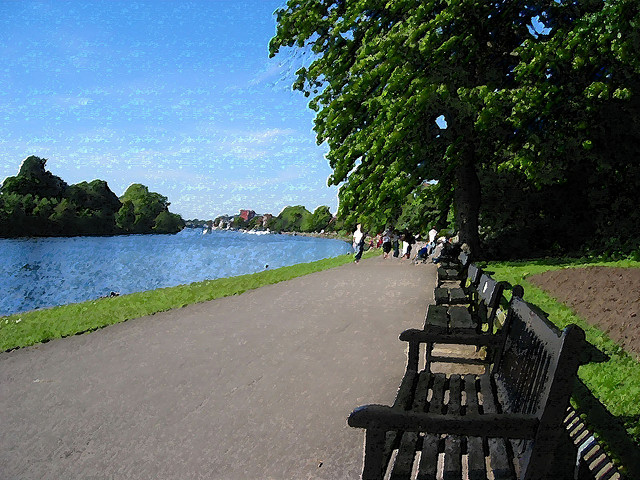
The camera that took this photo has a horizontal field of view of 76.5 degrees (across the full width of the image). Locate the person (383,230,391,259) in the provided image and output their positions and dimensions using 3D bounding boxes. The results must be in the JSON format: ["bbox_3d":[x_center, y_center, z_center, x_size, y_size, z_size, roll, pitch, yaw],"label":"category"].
[{"bbox_3d":[4.059,0.224,24.384,0.425,1.516,1.140,-5,27,7],"label":"person"}]

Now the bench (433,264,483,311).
[{"bbox_3d":[2.511,0.860,7.274,0.926,0.909,0.699,0,0,2],"label":"bench"}]

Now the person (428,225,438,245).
[{"bbox_3d":[6.160,-0.304,22.033,0.429,1.110,0.294,-13,25,-23],"label":"person"}]

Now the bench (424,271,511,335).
[{"bbox_3d":[2.122,0.872,5.893,1.073,0.832,1.908,-7,7,18],"label":"bench"}]

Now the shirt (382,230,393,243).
[{"bbox_3d":[4.040,-0.184,24.115,0.574,0.580,0.330,20,29,35],"label":"shirt"}]

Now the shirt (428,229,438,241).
[{"bbox_3d":[6.265,-0.265,22.139,0.406,0.585,0.907,0,4,17],"label":"shirt"}]

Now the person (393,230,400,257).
[{"bbox_3d":[5.009,0.345,26.108,0.350,1.689,1.048,0,4,13],"label":"person"}]
